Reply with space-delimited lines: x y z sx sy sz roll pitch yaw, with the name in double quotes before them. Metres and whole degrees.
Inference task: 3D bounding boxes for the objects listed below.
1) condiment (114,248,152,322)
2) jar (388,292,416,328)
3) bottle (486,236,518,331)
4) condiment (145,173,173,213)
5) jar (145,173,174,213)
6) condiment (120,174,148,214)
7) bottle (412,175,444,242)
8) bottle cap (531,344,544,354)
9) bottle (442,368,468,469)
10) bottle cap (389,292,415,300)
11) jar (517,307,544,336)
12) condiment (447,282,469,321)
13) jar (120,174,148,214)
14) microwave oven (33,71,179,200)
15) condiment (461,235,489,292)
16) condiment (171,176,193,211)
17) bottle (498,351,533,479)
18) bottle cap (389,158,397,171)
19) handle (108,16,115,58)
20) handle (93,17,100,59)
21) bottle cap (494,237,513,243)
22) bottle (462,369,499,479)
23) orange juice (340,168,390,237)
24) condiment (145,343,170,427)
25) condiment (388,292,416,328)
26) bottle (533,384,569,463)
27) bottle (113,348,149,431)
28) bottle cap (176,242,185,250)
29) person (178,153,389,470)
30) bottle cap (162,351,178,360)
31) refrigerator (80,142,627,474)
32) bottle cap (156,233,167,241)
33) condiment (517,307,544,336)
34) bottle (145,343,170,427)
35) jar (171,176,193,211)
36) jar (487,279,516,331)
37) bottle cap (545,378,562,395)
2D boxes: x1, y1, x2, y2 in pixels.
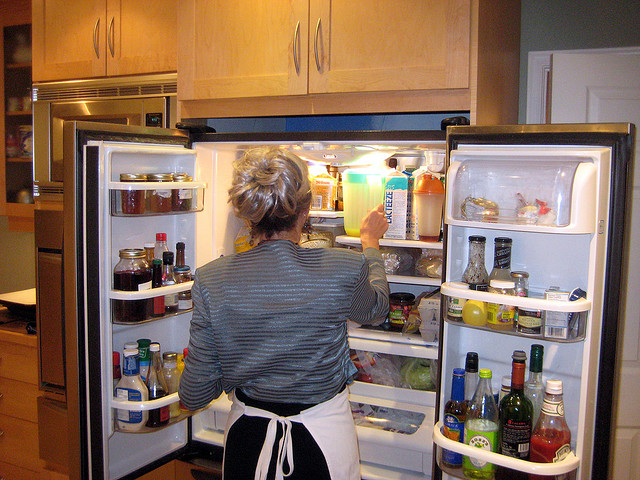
"condiment" -0.687 0.151 2.066 0.111 0.293 0.103 9 12 27
"jar" 0.338 0.282 2.281 0.140 0.158 0.143 2 -1 0
"bottle" 0.616 0.136 1.845 0.093 0.287 0.238 2 6 18
"condiment" -0.609 -0.169 2.117 0.102 0.155 0.106 -5 -10 19
"jar" -0.611 -0.163 2.119 0.107 0.168 0.111 -6 -19 -2
"condiment" -0.608 -0.169 1.982 0.127 0.204 0.123 1 7 -14
"bottle" 0.494 -0.142 2.204 0.146 0.281 0.149 -9 -1 0
"bottle cap" 0.694 0.346 1.756 0.032 0.031 0.033 0 0 2
"bottle" 0.463 0.605 1.868 0.081 0.325 0.083 4 0 0
"bottle cap" 0.346 0.233 2.295 0.061 0.017 0.062 0 0 31
"jar" 0.661 0.255 1.727 0.084 0.095 0.086 1 -2 0
"condiment" 0.469 0.205 1.855 0.078 0.135 0.081 -4 15 -7
"jar" -0.606 -0.168 1.982 0.125 0.200 0.124 1 7 0
"microwave oven" -0.860 -0.443 2.294 0.634 0.614 0.309 1 0 13
"condiment" 0.546 0.102 1.920 0.094 0.236 0.097 4 7 20
"condiment" -0.542 -0.193 2.176 0.082 0.146 0.087 28 27 38
"bottle" 0.634 0.530 1.767 0.095 0.335 0.064 1 5 14
"bottle cap" 0.320 -0.335 2.388 0.049 0.050 0.013 6 16 18
"handle" -0.976 -0.964 2.595 0.032 0.183 0.014 0 5 5
"handle" -1.056 -0.974 2.621 0.035 0.192 0.016 0 5 -1
"bottle cap" 0.619 -0.001 1.850 0.050 0.015 0.027 0 6 2
"bottle" 0.528 0.604 1.800 0.111 0.358 0.087 2 5 18
"orange juice" 0.194 -0.188 2.328 0.132 0.312 0.154 -12 18 -41
"condiment" -0.620 0.557 2.116 0.094 0.292 0.083 5 10 15
"condiment" 0.338 0.284 2.281 0.140 0.158 0.143 2 -1 2
"bottle" 0.771 0.567 1.783 0.095 0.252 0.220 4 7 37
"bottle" -0.691 0.560 2.088 0.111 0.326 0.110 2 9 0
"bottle cap" -0.553 0.021 2.218 0.028 0.026 0.029 1 2 0
"person" -0.089 0.239 1.690 0.649 1.006 0.247 -2 5 -20
"bottle cap" -0.590 0.457 2.178 0.033 0.030 0.034 4 1 3
"refrigerator" 0.125 0.235 1.876 1.324 0.980 0.691 2 2 25
"bottle cap" -0.613 -0.014 2.146 0.028 0.022 0.028 1 2 -4
"condiment" 0.659 0.252 1.733 0.082 0.095 0.087 1 -2 2
"bottle" -0.608 0.563 2.136 0.093 0.288 0.082 5 10 15
"jar" -0.548 -0.196 2.184 0.091 0.156 0.101 7 7 32
"jar" 0.586 0.209 1.776 0.081 0.153 0.075 0 5 0
"bottle cap" 0.726 0.457 1.706 0.040 0.032 0.041 -2 -3 4
